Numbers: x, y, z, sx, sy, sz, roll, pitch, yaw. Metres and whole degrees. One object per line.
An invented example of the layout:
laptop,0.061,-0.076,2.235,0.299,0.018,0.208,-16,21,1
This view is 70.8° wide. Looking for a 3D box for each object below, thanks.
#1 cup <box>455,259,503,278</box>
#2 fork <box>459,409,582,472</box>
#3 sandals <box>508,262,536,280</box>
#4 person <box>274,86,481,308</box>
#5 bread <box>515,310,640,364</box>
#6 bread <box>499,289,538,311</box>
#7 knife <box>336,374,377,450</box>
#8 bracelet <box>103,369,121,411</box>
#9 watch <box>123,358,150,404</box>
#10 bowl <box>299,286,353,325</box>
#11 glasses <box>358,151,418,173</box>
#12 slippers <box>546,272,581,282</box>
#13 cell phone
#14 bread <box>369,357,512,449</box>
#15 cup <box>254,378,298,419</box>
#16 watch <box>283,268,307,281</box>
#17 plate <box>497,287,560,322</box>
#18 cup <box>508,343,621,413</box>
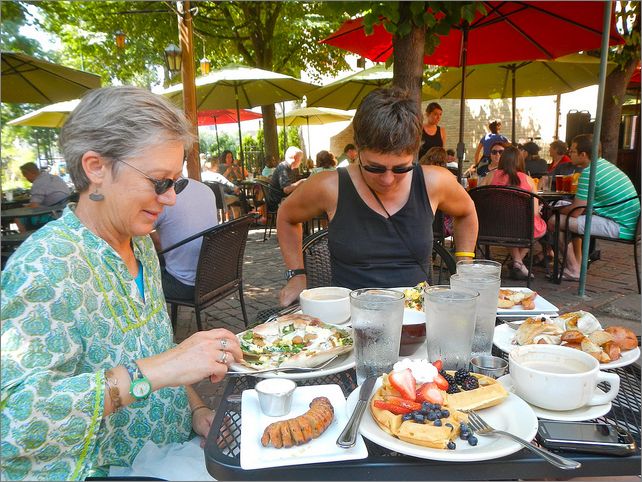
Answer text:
cup,0.613,0.108,1.763,0.110,0.088,0.122,0,-1,1
fork,0.510,0.520,1.169,0.050,0.053,0.356,-8,15,-23
sandals,2.410,0.365,5.482,0.182,0.113,0.312,-6,12,-44
person,0.330,-0.257,2.431,1.200,1.044,0.576,-6,12,-8
bread,0.846,0.306,1.519,0.227,0.065,0.216,-2,5,-6
bread,0.818,0.247,1.894,0.109,0.021,0.113,4,25,12
knife,0.100,0.459,1.242,0.045,0.014,0.278,3,16,18
bracelet,-0.618,0.447,1.342,0.034,0.110,0.061,-12,14,-33
watch,-0.535,0.415,1.366,0.063,0.108,0.111,-23,20,-16
bowl,0.035,0.276,1.848,0.187,0.113,0.178,-4,10,1
glasses,0.325,-0.365,2.226,0.259,0.090,0.144,-3,11,6
slippers,2.884,0.423,5.389,0.308,0.078,0.131,6,7,8
cell phone,0.693,0.521,1.196,0.158,0.032,0.095,1,10,15
bread,0.304,0.375,1.199,0.234,0.087,0.276,5,13,28
cup,-0.130,0.448,1.298,0.096,0.059,0.098,1,4,0
watch,-0.140,0.180,2.389,0.091,0.053,0.096,-12,-20,40
plate,0.848,0.271,1.857,0.166,0.023,0.170,1,20,5
cup,0.696,0.378,1.297,0.241,0.113,0.201,5,12,39
